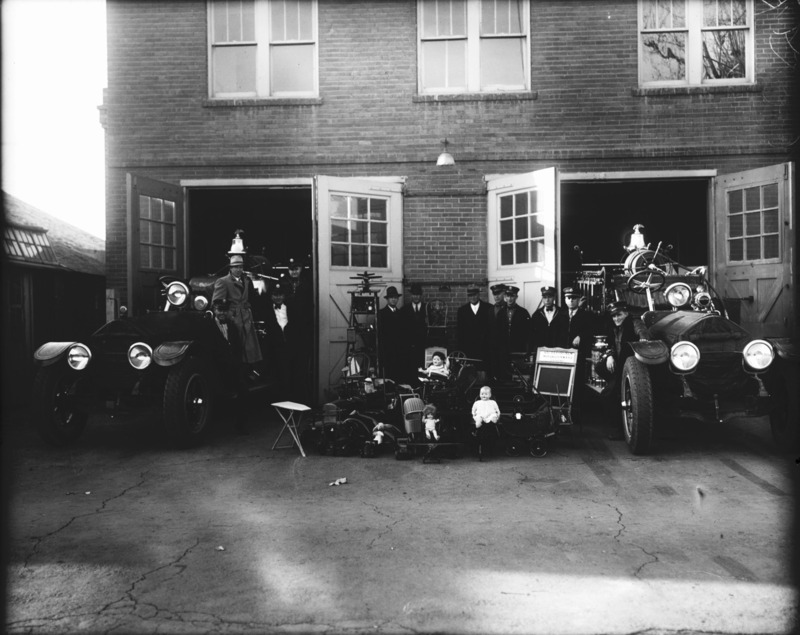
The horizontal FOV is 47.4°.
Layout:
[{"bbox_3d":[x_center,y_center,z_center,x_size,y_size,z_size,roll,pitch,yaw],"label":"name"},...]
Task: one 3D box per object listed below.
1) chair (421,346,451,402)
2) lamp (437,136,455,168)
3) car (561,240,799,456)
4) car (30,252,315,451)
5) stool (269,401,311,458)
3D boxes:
[{"bbox_3d":[0.405,0.777,10.829,0.319,0.949,0.241,0,25,-7],"label":"chair"},{"bbox_3d":[0.688,-2.528,13.901,0.337,0.507,0.380,0,-6,1],"label":"lamp"},{"bbox_3d":[3.305,0.336,11.301,1.489,1.709,3.132,-1,3,3],"label":"car"},{"bbox_3d":[-2.735,0.371,12.035,1.647,1.659,3.080,-2,2,13],"label":"car"},{"bbox_3d":[-1.369,1.287,11.005,0.370,0.549,0.327,2,-18,-14],"label":"stool"}]
